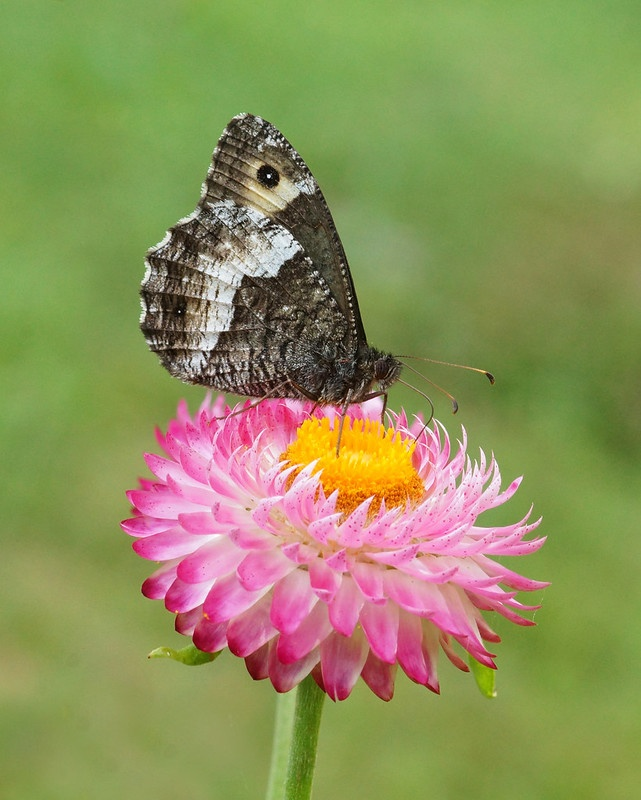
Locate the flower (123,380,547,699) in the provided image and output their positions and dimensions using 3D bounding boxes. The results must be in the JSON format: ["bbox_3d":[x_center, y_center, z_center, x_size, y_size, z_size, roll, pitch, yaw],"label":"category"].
[{"bbox_3d":[-0.046,0.267,1.850,0.771,0.344,0.751,2,16,-46],"label":"flower"}]
